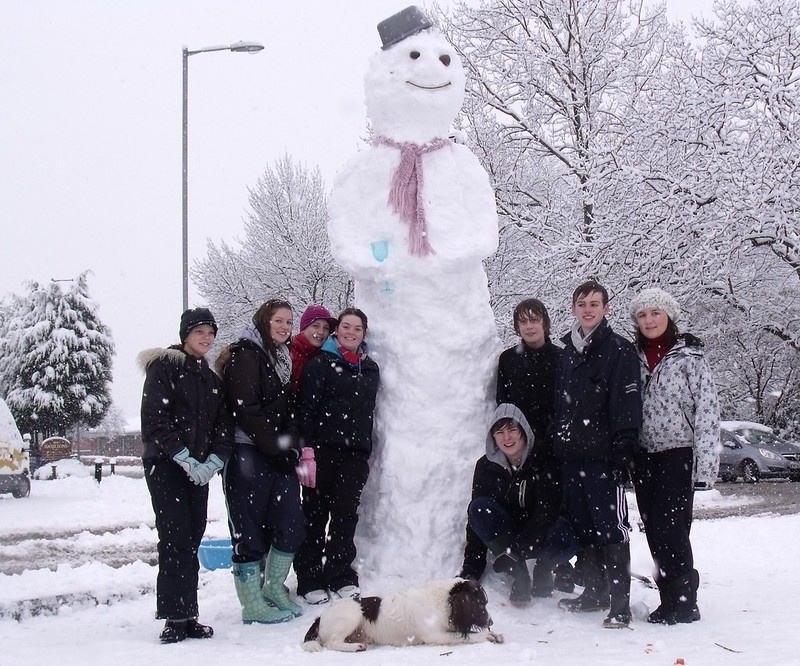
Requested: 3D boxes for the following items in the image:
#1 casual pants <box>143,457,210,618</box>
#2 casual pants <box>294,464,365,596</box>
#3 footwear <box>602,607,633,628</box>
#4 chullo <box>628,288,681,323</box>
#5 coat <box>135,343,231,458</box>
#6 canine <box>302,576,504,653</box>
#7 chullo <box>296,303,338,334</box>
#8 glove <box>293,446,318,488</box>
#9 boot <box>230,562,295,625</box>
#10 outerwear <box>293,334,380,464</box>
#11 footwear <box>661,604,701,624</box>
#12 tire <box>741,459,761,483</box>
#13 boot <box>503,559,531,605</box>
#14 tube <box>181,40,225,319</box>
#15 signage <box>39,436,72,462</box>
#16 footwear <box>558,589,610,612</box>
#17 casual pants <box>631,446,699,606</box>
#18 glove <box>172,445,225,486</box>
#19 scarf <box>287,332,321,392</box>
[{"bbox_3d":[-1.573,1.456,5.898,0.423,1.118,0.255,0,-5,-20],"label":"casual pants"},{"bbox_3d":[-0.664,1.728,6.667,0.589,0.426,1.343,6,-43,8],"label":"casual pants"},{"bbox_3d":[1.515,1.985,5.793,0.226,0.104,0.141,-2,-5,-3],"label":"footwear"},{"bbox_3d":[1.947,-0.248,6.366,0.245,0.177,0.306,10,-13,10],"label":"chullo"},{"bbox_3d":[-1.519,0.504,5.885,0.456,0.778,0.612,-12,-18,38],"label":"coat"},{"bbox_3d":[0.053,1.909,5.645,1.220,0.467,0.555,-6,-18,1],"label":"canine"},{"bbox_3d":[-0.693,-0.117,6.916,0.261,0.224,0.200,-3,-9,13],"label":"chullo"},{"bbox_3d":[-0.698,1.027,6.337,0.156,0.280,0.075,-4,-2,-21],"label":"glove"},{"bbox_3d":[-0.993,1.890,6.117,0.428,0.476,0.227,-6,0,17],"label":"boot"},{"bbox_3d":[-0.500,0.550,6.531,0.794,1.035,0.483,6,-11,-29],"label":"outerwear"},{"bbox_3d":[1.987,1.963,5.865,0.314,0.150,0.109,2,-16,-35],"label":"footwear"},{"bbox_3d":[7.486,2.927,17.745,0.156,0.536,0.488,6,-3,-19],"label":"tire"},{"bbox_3d":[0.894,1.858,6.210,0.156,0.312,0.120,-3,-10,14],"label":"boot"},{"bbox_3d":[-2.979,-2.596,12.910,0.883,4.384,0.462,-1,-18,-11],"label":"tube"},{"bbox_3d":[-9.664,3.294,23.463,0.754,0.689,0.810,0,-6,-27],"label":"signage"},{"bbox_3d":[1.352,1.975,6.154,0.353,0.279,0.152,0,-9,4],"label":"footwear"},{"bbox_3d":[1.933,1.386,6.052,0.431,1.098,0.313,-4,-5,20],"label":"casual pants"},{"bbox_3d":[-1.413,0.951,5.914,0.418,0.274,0.230,1,-6,-37],"label":"glove"},{"bbox_3d":[-0.799,0.232,6.802,0.247,0.379,0.155,15,-30,-3],"label":"scarf"}]
